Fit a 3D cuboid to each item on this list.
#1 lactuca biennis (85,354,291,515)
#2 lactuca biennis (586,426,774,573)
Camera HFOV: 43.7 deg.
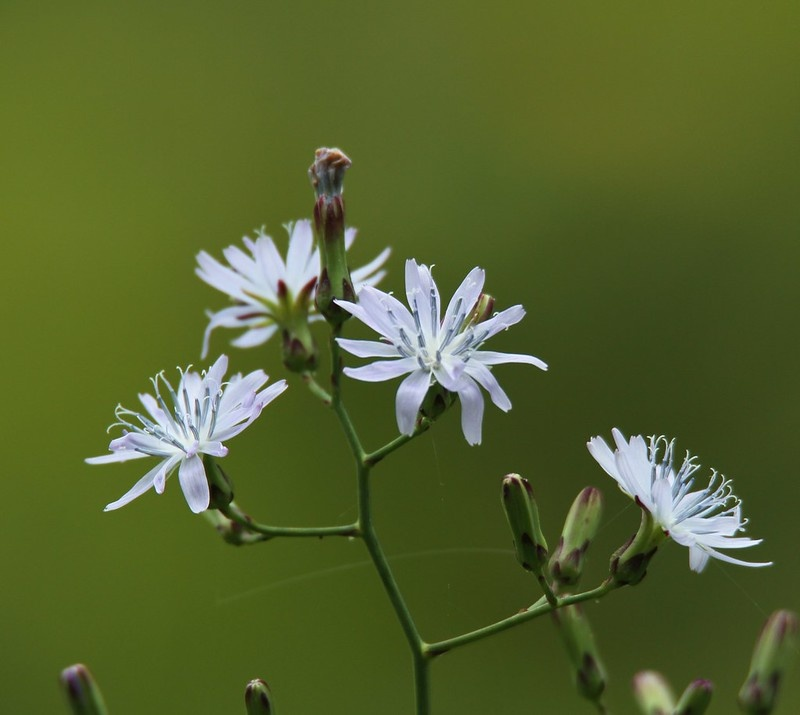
[{"bbox_3d":[-0.397,0.149,1.941,0.358,0.180,0.431,-1,-3,14],"label":"lactuca biennis"},{"bbox_3d":[0.553,0.279,1.941,0.323,0.402,0.115,7,-56,-40],"label":"lactuca biennis"}]
